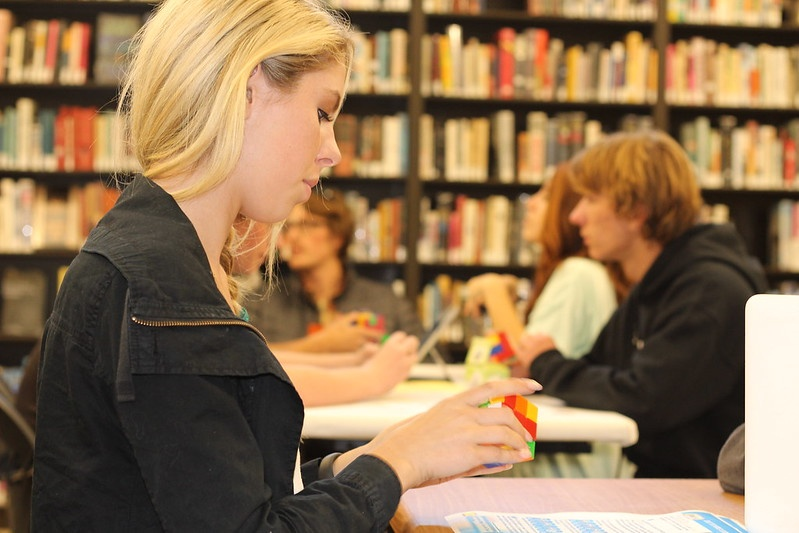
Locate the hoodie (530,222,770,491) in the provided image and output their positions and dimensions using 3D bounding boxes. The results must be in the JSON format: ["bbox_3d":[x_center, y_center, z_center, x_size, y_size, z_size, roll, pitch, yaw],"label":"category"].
[{"bbox_3d":[0.733,0.189,3.242,0.631,0.877,0.569,2,4,14],"label":"hoodie"}]

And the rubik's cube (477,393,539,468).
[{"bbox_3d":[0.260,0.341,2.515,0.146,0.148,0.148,5,-29,7],"label":"rubik's cube"}]
